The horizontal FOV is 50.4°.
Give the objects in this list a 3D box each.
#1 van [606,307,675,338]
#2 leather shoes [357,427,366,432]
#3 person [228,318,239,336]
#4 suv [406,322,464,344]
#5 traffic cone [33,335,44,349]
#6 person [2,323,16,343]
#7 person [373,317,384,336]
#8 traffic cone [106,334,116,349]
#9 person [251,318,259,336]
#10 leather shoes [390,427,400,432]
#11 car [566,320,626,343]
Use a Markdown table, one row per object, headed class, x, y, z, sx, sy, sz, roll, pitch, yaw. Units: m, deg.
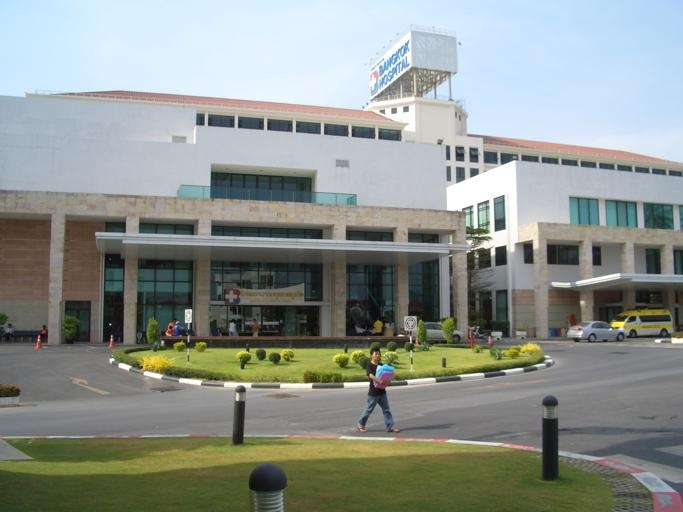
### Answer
| class | x | y | z | sx | sy | sz | roll | pitch | yaw |
| --- | --- | --- | --- | --- | --- | --- | --- | --- | --- |
| van | 21.697 | 4.765 | 52.415 | 4.001 | 1.894 | 2.369 | 3 | -9 | -11 |
| leather shoes | 0.529 | 4.508 | 18.694 | 0.190 | 0.093 | 0.202 | -1 | -8 | 1 |
| person | -6.804 | 4.557 | 45.853 | 0.592 | 0.995 | 1.728 | 0 | -8 | -9 |
| suv | 6.519 | 5.155 | 46.510 | 2.707 | 1.311 | 1.644 | -3 | -4 | -7 |
| traffic cone | -17.064 | 4.914 | 41.168 | 0.698 | 0.919 | 0.696 | 3 | -11 | -22 |
| person | -19.828 | 4.583 | 43.486 | 0.686 | 1.168 | 1.199 | 2 | -8 | -23 |
| person | 2.505 | 4.880 | 48.989 | 0.676 | 0.910 | 0.347 | -1 | -8 | 2 |
| traffic cone | -13.571 | 5.082 | 42.956 | 0.559 | 0.795 | 0.591 | 1 | -9 | -11 |
| person | -5.526 | 4.636 | 47.054 | 0.435 | 1.070 | 1.048 | 0 | -8 | -7 |
| leather shoes | 1.382 | 4.497 | 18.677 | 0.243 | 0.100 | 0.090 | -5 | -5 | 15 |
| car | 17.366 | 5.255 | 49.424 | 3.155 | 1.018 | 1.548 | 0 | -3 | -15 |
